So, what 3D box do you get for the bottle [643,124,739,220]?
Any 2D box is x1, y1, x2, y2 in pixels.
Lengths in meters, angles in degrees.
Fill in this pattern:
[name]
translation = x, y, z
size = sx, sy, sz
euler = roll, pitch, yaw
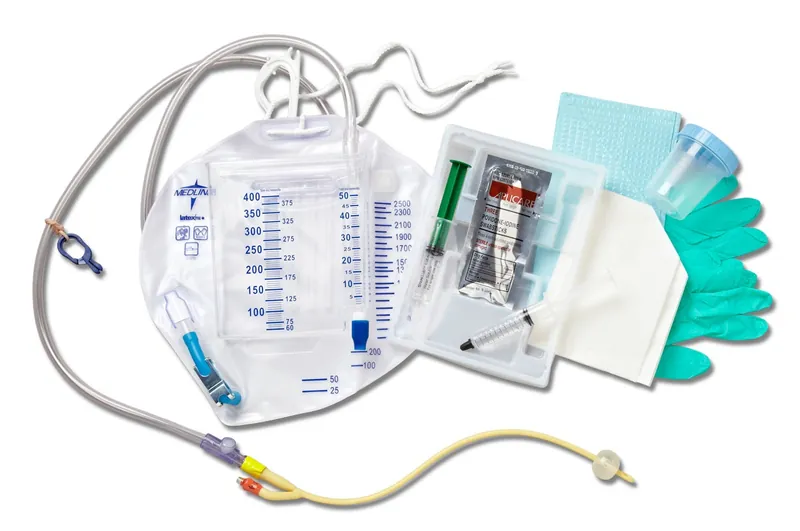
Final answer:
[bottle]
translation = 1.285, -0.416, 3.691
size = 0.300, 0.356, 0.312
euler = 34, 0, 33
